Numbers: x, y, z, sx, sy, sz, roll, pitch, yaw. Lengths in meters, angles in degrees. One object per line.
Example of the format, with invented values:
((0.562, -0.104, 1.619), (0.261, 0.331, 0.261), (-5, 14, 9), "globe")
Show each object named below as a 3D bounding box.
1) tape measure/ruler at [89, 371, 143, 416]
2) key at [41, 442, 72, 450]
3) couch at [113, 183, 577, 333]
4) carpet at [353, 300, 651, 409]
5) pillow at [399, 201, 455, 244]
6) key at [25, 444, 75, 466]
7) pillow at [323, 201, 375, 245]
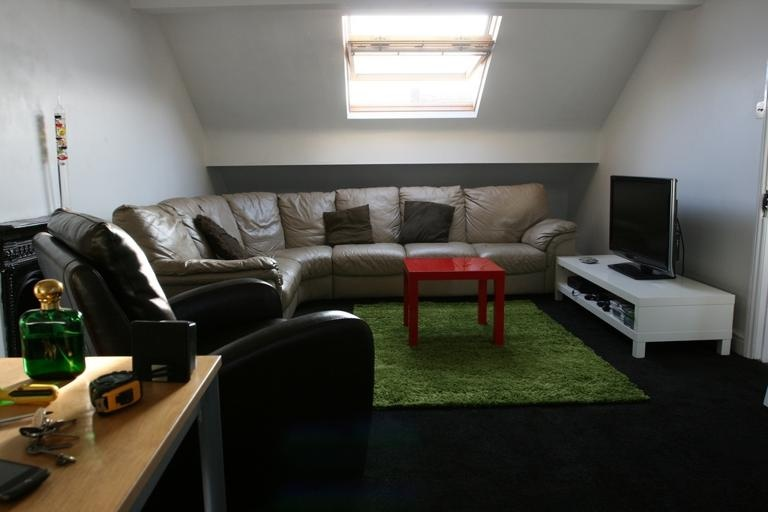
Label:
((-0.771, 0.386, 1.508), (0.130, 0.071, 0.101), (-12, 24, -36), "tape measure/ruler")
((-0.875, 0.505, 1.383), (0.051, 0.014, 0.018), (2, 15, -5), "key")
((-0.269, -0.123, 4.945), (4.406, 0.944, 1.751), (-7, 15, -36), "couch")
((0.730, 0.675, 3.625), (1.616, 0.123, 1.312), (-4, 15, -1), "carpet")
((0.413, -0.339, 5.206), (0.510, 0.434, 0.147), (5, -5, 7), "pillow")
((-0.876, 0.519, 1.359), (0.155, 0.015, 0.049), (8, 17, 6), "key")
((-0.361, -0.315, 5.191), (0.463, 0.389, 0.128), (-5, -9, -2), "pillow")
